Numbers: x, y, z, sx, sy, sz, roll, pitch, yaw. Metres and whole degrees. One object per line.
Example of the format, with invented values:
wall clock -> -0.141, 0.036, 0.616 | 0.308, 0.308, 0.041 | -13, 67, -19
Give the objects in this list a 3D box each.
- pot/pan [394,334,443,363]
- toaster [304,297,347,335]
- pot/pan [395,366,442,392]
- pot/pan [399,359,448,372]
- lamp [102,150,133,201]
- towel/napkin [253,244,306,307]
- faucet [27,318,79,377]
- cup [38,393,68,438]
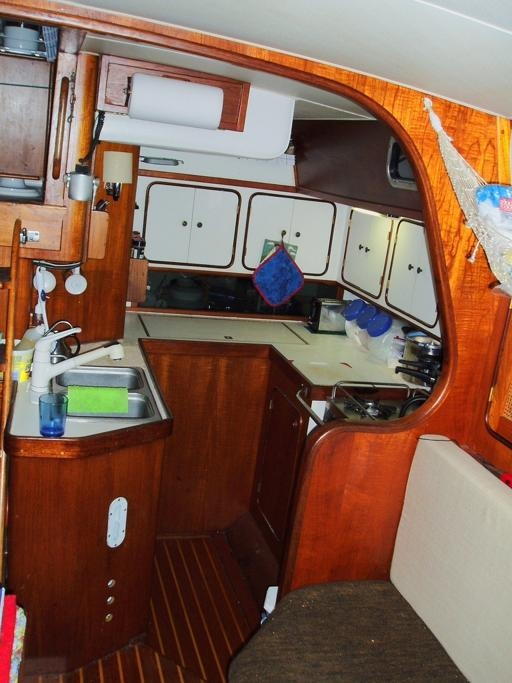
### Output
pot/pan -> 0.764, 0.025, 2.403 | 0.169, 0.165, 0.172 | -1, 11, -10
toaster -> 0.445, -0.160, 3.233 | 0.228, 0.208, 0.124 | 2, 26, -5
pot/pan -> 0.630, 0.144, 1.981 | 0.172, 0.066, 0.109 | 17, 19, -38
pot/pan -> 0.626, 0.087, 1.908 | 0.143, 0.024, 0.078 | 1, 19, -13
lamp -> -0.585, -0.708, 2.176 | 0.111, 0.188, 0.065 | 2, 13, -17
towel/napkin -> 0.140, -0.450, 3.318 | 0.419, 0.506, 0.040 | -2, 24, -23
faucet -> -0.821, 0.023, 2.064 | 0.212, 0.281, 0.103 | 2, 39, -17
cup -> -0.641, 0.229, 1.630 | 0.078, 0.127, 0.142 | 1, 13, -21
